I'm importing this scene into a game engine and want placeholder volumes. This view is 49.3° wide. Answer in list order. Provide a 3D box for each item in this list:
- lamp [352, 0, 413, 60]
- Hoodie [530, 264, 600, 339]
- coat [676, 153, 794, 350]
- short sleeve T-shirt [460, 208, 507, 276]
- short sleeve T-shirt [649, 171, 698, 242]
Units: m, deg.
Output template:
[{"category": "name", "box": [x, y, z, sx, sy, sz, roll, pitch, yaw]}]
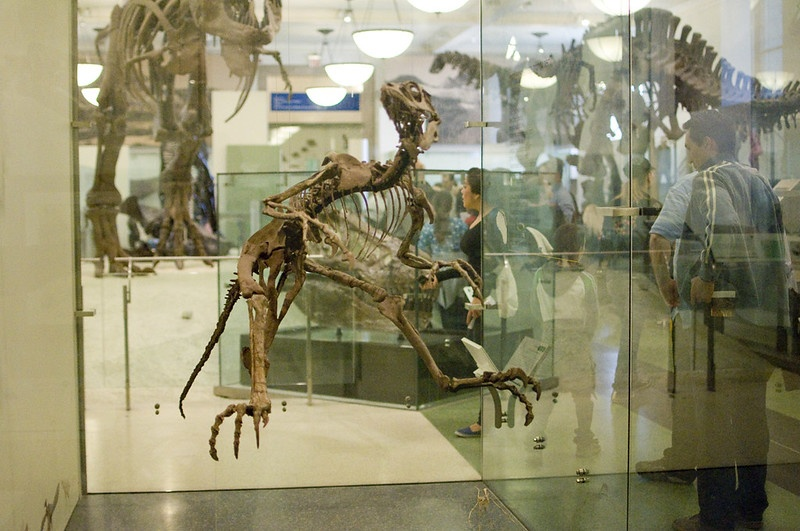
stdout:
[{"category": "lamp", "box": [-0.172, -1.607, 6.052, 0.372, 0.497, 0.396, -3, 11, -23]}, {"category": "Hoodie", "box": [0.857, 0.173, 4.447, 0.232, 0.411, 0.306, -13, 16, -39]}, {"category": "coat", "box": [1.495, -0.078, 3.821, 0.839, 0.854, 0.494, 1, 2, -41]}, {"category": "short sleeve T-shirt", "box": [0.539, -0.140, 5.116, 0.193, 0.372, 0.377, -13, -43, 22]}, {"category": "short sleeve T-shirt", "box": [1.252, -0.280, 3.965, 0.081, 0.269, 0.204, 11, 12, 6]}]
